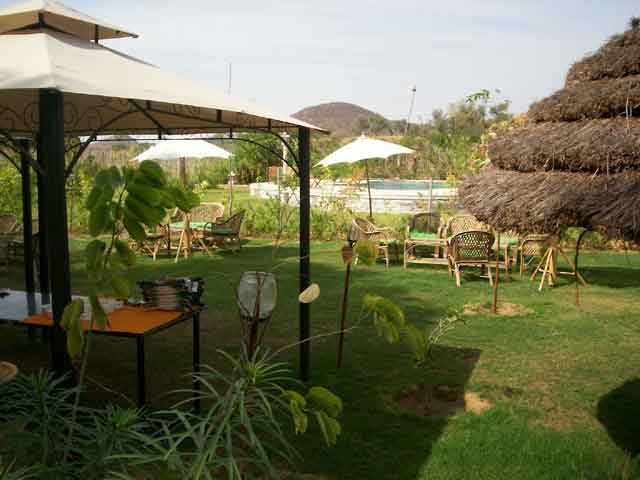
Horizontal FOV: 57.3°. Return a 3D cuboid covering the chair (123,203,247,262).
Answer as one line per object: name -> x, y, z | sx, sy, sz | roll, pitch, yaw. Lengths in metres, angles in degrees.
chair -> -2.553, 0.166, 11.934 | 1.930, 0.836, 1.567 | -2, 11, 2

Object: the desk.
desk -> -1.620, 0.971, 5.721 | 1.610, 0.861, 2.176 | 2, 4, 14
